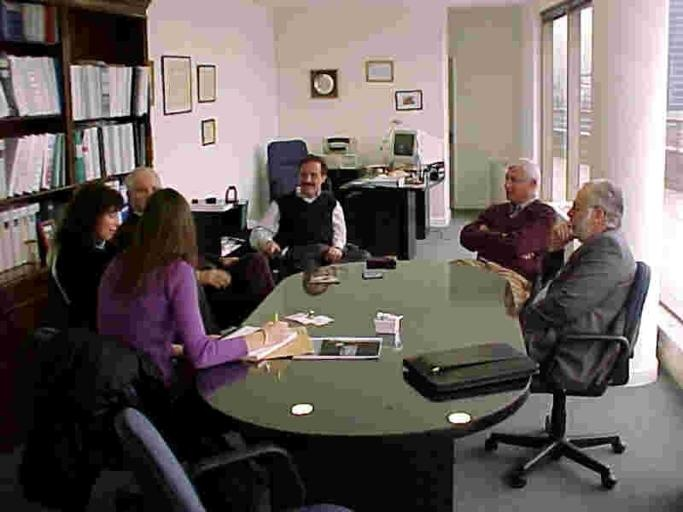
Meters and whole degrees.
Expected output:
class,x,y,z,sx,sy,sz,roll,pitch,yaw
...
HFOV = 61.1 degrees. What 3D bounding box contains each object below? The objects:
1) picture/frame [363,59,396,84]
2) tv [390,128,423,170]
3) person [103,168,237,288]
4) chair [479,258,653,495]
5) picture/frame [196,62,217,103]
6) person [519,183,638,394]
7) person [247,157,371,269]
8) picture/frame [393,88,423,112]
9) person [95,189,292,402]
class,x,y,z,sx,sy,sz,roll,pitch,yaw
picture/frame,0.608,-2.912,9.083,0.354,0.272,0.038,1,10,1
tv,1.115,-1.605,8.689,0.478,0.682,0.537,3,9,19
person,-1.489,-0.234,4.159,0.736,0.697,0.560,13,11,43
chair,1.466,0.597,3.687,1.069,1.513,1.065,2,5,9
picture/frame,-1.600,-2.046,6.872,0.092,0.414,0.411,1,10,16
person,1.267,0.144,3.133,0.579,1.060,0.496,1,12,9
person,-0.287,-0.391,4.982,0.955,0.922,0.565,0,9,-11
picture/frame,1.040,-2.483,9.136,0.334,0.254,0.044,-1,11,-1
person,-0.659,0.212,2.672,0.720,0.993,0.821,7,10,8
